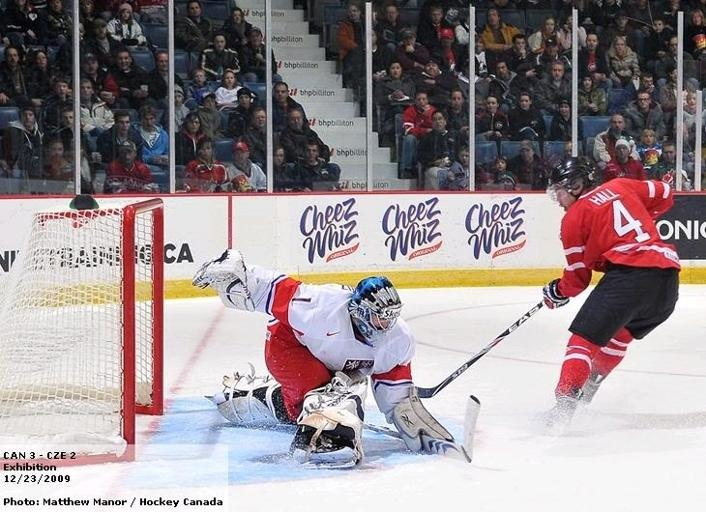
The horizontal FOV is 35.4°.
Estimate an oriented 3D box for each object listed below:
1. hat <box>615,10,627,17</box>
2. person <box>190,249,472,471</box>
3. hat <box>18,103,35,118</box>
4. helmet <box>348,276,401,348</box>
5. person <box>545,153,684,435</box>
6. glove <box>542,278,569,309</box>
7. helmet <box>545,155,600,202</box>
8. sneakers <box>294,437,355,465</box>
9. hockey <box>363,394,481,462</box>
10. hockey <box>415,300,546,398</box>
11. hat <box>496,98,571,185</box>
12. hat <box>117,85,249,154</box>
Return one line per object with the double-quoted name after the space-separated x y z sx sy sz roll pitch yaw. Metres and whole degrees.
3.253 -2.928 13.408 0.093 0.041 0.118 3 16 5 "hat"
-0.292 0.640 6.955 1.384 1.069 2.143 10 -8 -34 "person"
-3.280 -1.464 11.152 0.133 0.131 0.167 -1 -9 -22 "hat"
0.144 0.305 6.730 0.326 0.320 0.381 -1 24 -32 "helmet"
1.687 0.207 7.236 0.864 1.623 0.894 3 13 8 "person"
1.379 0.247 7.516 0.193 0.092 0.195 28 19 4 "glove"
1.483 -0.511 7.462 0.365 0.303 0.296 -8 6 -5 "helmet"
-0.177 1.145 6.602 0.388 0.154 0.266 0 12 -5 "sneakers"
0.465 0.983 6.728 0.705 0.425 0.246 8 14 29 "hockey"
1.000 0.791 8.041 0.439 0.196 2.376 18 -22 -1 "hockey"
1.958 -1.232 12.448 0.587 0.895 0.337 -1 4 -11 "hat"
-1.601 -1.368 11.701 1.304 0.785 0.374 -3 14 -21 "hat"
